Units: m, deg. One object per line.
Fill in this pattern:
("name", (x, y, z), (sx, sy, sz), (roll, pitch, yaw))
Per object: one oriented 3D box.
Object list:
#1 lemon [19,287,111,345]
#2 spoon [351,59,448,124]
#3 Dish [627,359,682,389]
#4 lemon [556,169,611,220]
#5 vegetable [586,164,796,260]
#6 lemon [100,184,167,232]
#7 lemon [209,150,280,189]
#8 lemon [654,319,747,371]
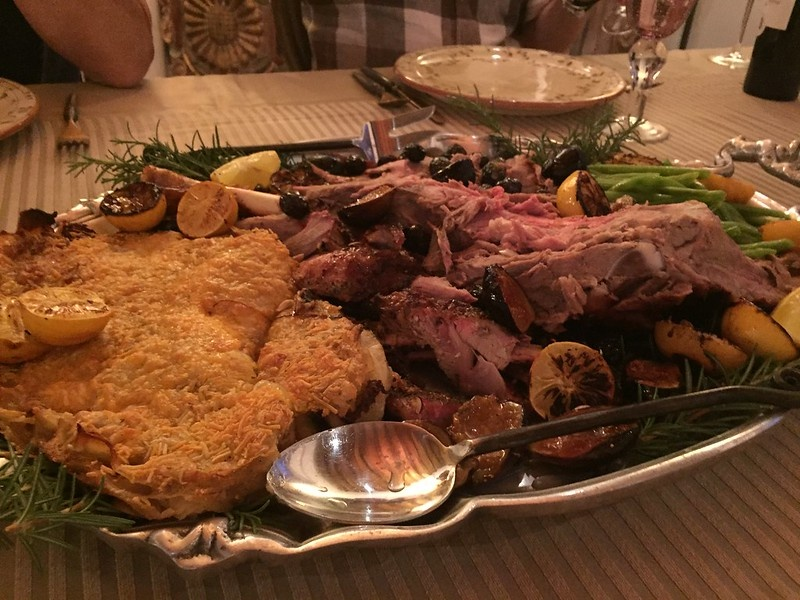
("lemon", (-0.789, 0.036, 1.588), (0.179, 0.087, 0.157), (2, 25, -36))
("spoon", (-0.029, -1.001, 3.226), (0.196, 0.110, 0.873), (-11, 24, -21))
("Dish", (0.665, 0.196, 1.737), (0.118, 0.023, 0.070), (6, 45, 6))
("lemon", (0.568, -0.323, 2.177), (0.102, 0.174, 0.158), (-31, 42, 31))
("vegetable", (1.003, -0.262, 2.323), (0.580, 0.087, 0.354), (5, 32, -19))
("lemon", (-0.788, -0.247, 1.982), (0.151, 0.082, 0.154), (22, 38, 40))
("lemon", (-0.520, -0.461, 2.297), (0.244, 0.081, 0.133), (-14, 65, 9))
("lemon", (0.838, 0.131, 1.821), (0.274, 0.241, 0.099), (7, 82, 31))
